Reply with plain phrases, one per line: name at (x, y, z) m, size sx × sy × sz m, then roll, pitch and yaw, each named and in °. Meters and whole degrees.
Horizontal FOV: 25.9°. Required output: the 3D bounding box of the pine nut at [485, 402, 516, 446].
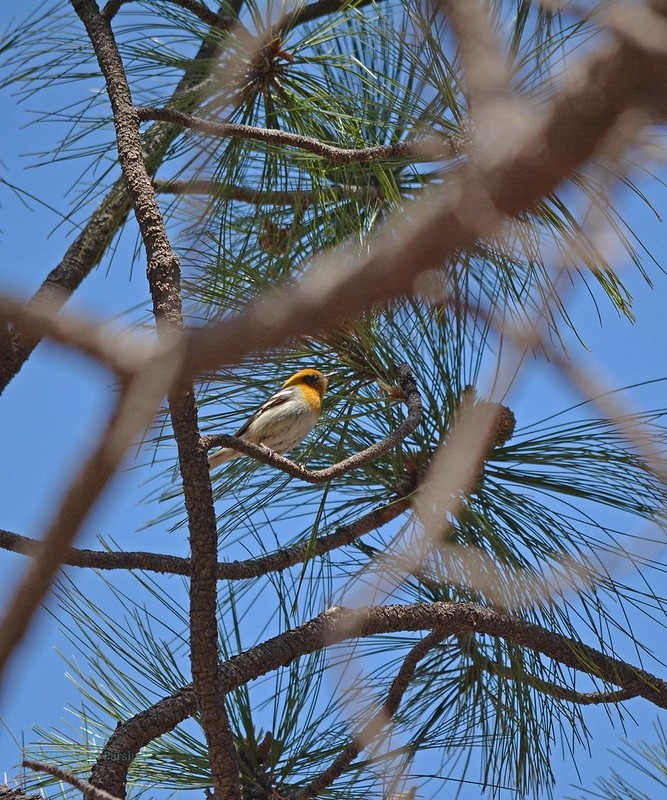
pine nut at (0.469, 0.065, 4.103) m, size 0.116 × 0.137 × 0.129 m, roll 0°, pitch -86°, yaw 1°

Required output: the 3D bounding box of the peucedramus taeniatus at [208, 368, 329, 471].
peucedramus taeniatus at (-0.272, 0.073, 5.743) m, size 0.712 × 0.344 × 0.217 m, roll -13°, pitch -29°, yaw 33°
